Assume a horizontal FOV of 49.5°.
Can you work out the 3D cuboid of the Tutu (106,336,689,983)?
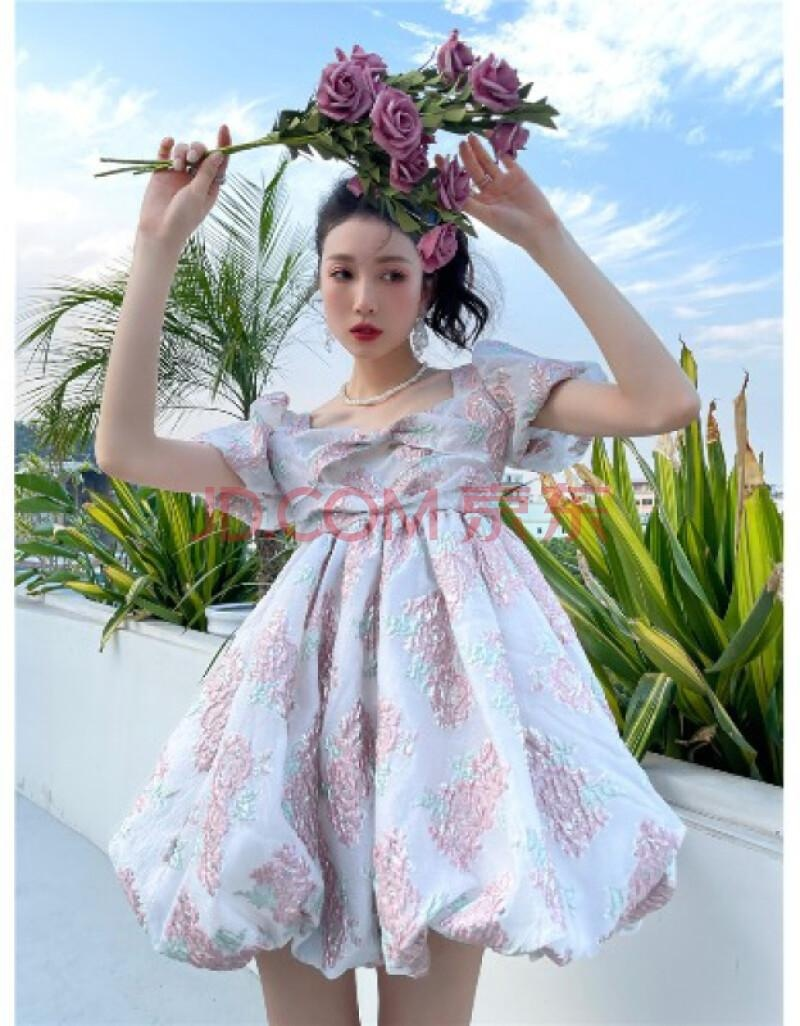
[{"bbox_3d":[-0.003,0.149,0.935,0.601,0.647,0.446,4,12,20],"label":"Tutu"}]
